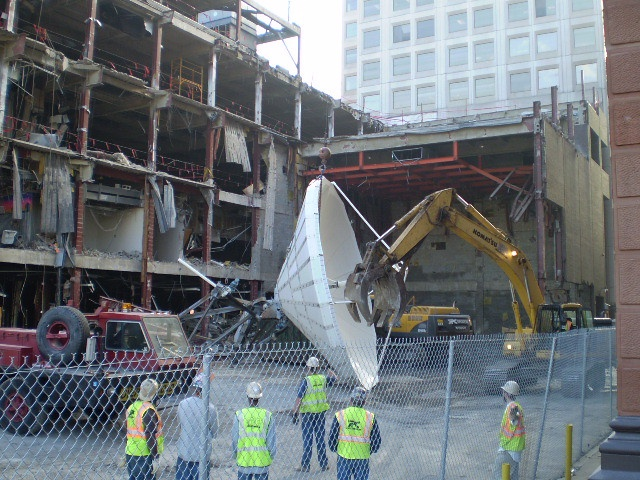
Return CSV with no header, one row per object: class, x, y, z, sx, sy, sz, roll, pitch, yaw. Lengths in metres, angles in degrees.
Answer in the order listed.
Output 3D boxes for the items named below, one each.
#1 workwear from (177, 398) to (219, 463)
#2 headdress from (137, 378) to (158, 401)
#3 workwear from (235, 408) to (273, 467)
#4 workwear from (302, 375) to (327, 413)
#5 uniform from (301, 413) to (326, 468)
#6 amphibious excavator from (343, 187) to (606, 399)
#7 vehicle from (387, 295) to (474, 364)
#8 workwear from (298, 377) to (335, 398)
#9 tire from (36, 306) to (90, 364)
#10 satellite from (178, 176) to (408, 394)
workwear,-2.927,4.558,20.623,0.719,1.569,1.441,4,-10,-27
headdress,-4.212,3.682,21.327,0.376,0.592,0.552,17,9,-7
workwear,-1.592,4.762,20.551,1.030,1.670,0.791,1,-10,-9
workwear,-0.173,4.202,23.147,0.831,1.024,0.552,2,-2,-24
uniform,-0.164,5.405,23.094,0.770,2.003,0.552,1,-38,-2
amphibious excavator,6.359,2.100,31.222,10.924,6.919,3.215,8,-12,-25
vehicle,3.881,3.737,36.101,4.104,2.496,2.440,-1,-4,16
workwear,-0.127,4.053,23.539,0.895,0.766,0.461,4,-4,-25
tire,-7.992,3.038,26.643,1.400,1.800,0.551,1,-8,11
satellite,0.200,2.854,31.045,6.613,7.895,7.542,-7,31,5
